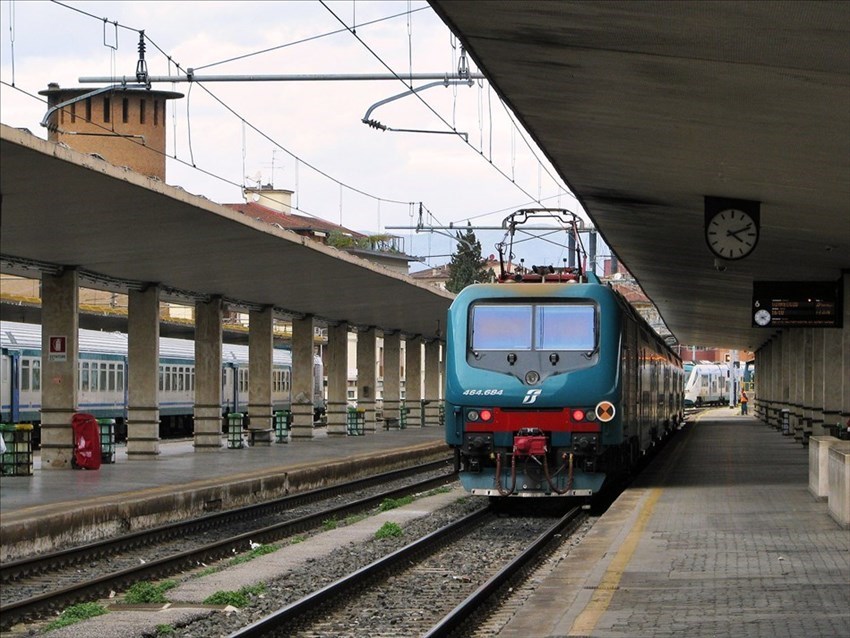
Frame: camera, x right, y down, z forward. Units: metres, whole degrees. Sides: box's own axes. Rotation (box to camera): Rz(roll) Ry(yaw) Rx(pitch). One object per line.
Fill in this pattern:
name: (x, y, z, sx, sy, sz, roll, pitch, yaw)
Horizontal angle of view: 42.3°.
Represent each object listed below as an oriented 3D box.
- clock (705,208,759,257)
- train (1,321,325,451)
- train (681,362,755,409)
clock: (4.722, -1.378, 17.073, 0.792, 0.763, 0.087, 0, 2, 0)
train: (-9.398, 2.142, 40.586, 3.038, 4.234, 19.485, -1, -3, 28)
train: (24.892, 5.918, 94.821, 2.073, 3.638, 12.945, -10, -11, 38)
